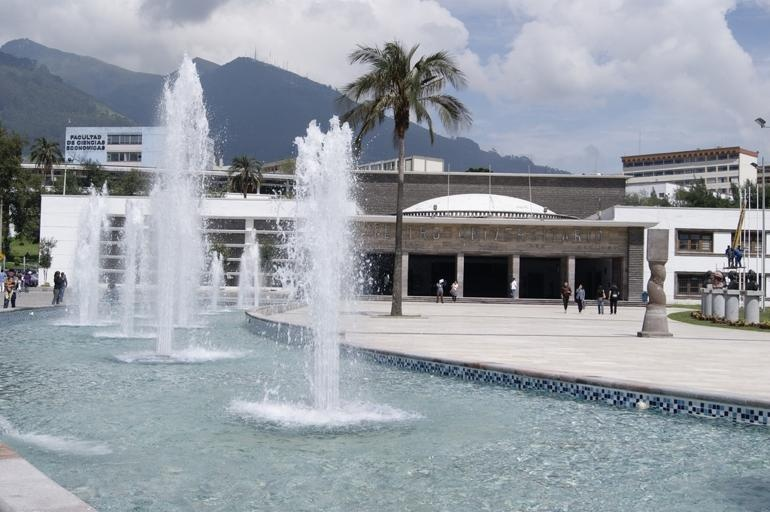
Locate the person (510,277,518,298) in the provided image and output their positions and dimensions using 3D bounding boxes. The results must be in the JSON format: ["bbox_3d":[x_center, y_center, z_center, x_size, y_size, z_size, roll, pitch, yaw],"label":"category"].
[{"bbox_3d":[9.064,2.390,60.113,0.409,1.235,0.911,1,-3,2],"label":"person"}]
